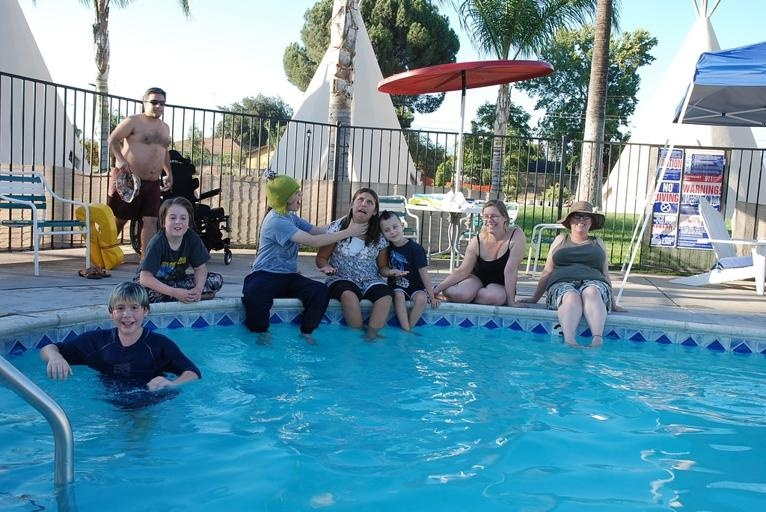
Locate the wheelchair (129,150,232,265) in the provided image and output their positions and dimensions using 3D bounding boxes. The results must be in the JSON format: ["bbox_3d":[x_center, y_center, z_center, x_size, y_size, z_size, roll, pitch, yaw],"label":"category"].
[{"bbox_3d":[-2.896,-0.735,9.338,1.257,1.581,1.309,12,10,42],"label":"wheelchair"}]

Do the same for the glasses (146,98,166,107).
[{"bbox_3d":[-2.880,-1.899,7.619,0.196,0.073,0.131,0,6,-22],"label":"glasses"}]

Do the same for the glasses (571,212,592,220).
[{"bbox_3d":[2.245,-0.434,6.716,0.264,0.066,0.131,1,6,-8],"label":"glasses"}]

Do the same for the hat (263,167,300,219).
[{"bbox_3d":[-1.045,-0.615,6.233,0.340,0.381,0.256,1,6,-4],"label":"hat"}]

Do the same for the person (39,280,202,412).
[{"bbox_3d":[-2.011,0.748,4.924,1.405,1.145,0.850,-1,-10,-11],"label":"person"}]

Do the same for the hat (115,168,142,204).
[{"bbox_3d":[-3.249,-0.862,7.608,0.319,0.378,0.175,20,6,14],"label":"hat"}]

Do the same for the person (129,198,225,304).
[{"bbox_3d":[-2.289,-0.052,6.654,1.108,1.202,0.828,-10,18,-41],"label":"person"}]

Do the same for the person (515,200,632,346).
[{"bbox_3d":[2.140,0.152,6.608,0.822,1.443,1.074,3,6,7],"label":"person"}]
